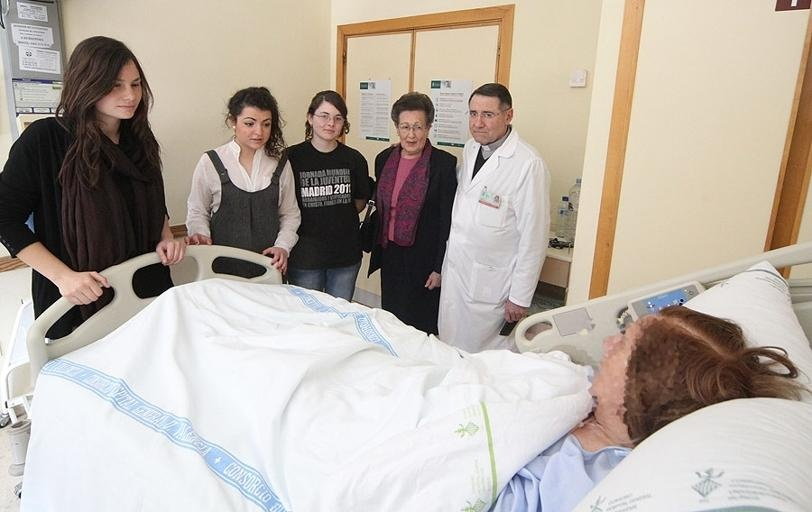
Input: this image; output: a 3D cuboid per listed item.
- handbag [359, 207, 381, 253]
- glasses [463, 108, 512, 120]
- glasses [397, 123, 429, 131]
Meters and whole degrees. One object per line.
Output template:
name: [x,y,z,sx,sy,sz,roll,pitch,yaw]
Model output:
handbag: [-0.216,-0.170,3.431,0.091,0.270,0.146,9,16,0]
glasses: [0.501,-0.826,3.040,0.261,0.069,0.162,2,16,-3]
glasses: [0.043,-0.800,3.216,0.191,0.049,0.098,2,16,-2]
